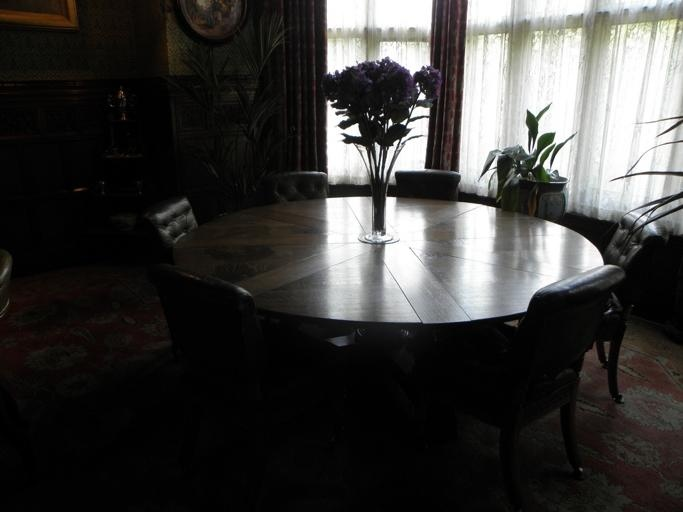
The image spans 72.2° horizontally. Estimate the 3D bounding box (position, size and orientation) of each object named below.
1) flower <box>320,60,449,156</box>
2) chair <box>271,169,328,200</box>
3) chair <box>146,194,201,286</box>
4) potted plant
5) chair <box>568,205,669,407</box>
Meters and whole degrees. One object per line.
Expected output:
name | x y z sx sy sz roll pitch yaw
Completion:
flower | 0.207 -0.778 2.378 0.452 0.413 0.349 25 32 32
chair | -0.329 -0.543 3.635 0.388 0.246 0.285 -4 14 -21
chair | -0.972 -0.149 2.777 0.213 0.322 0.450 3 22 3
potted plant | 1.467 -0.690 3.623 0.534 0.954 0.609 -2 21 -9
chair | 1.400 0.303 2.717 0.641 0.970 0.642 8 18 29
